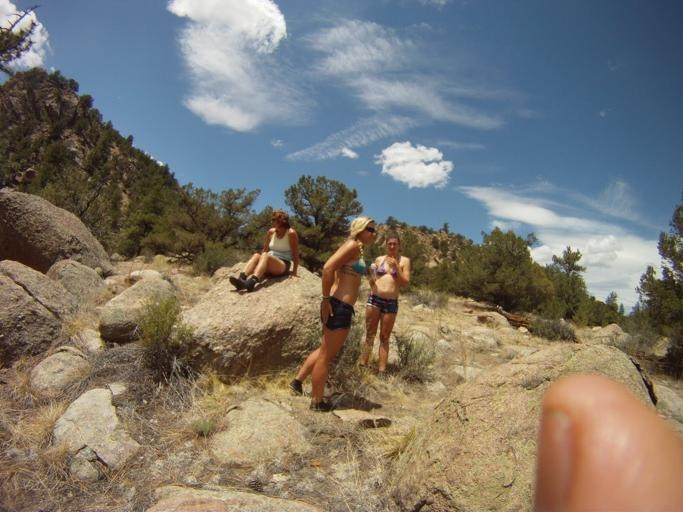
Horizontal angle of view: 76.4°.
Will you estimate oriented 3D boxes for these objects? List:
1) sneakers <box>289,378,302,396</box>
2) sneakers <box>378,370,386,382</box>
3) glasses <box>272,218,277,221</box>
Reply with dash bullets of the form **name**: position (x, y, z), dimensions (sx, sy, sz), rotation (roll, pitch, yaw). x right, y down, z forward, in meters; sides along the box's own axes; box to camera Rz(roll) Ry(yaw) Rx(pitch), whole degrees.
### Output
- **sneakers**: position (-0.571, 1.668, 5.603), dimensions (0.089, 0.134, 0.299), rotation (15, -28, 27)
- **sneakers**: position (0.623, 1.855, 6.813), dimensions (0.096, 0.209, 0.114), rotation (-4, -3, 12)
- **glasses**: position (-1.048, -0.577, 6.747), dimensions (0.049, 0.061, 0.041), rotation (12, 8, 21)
